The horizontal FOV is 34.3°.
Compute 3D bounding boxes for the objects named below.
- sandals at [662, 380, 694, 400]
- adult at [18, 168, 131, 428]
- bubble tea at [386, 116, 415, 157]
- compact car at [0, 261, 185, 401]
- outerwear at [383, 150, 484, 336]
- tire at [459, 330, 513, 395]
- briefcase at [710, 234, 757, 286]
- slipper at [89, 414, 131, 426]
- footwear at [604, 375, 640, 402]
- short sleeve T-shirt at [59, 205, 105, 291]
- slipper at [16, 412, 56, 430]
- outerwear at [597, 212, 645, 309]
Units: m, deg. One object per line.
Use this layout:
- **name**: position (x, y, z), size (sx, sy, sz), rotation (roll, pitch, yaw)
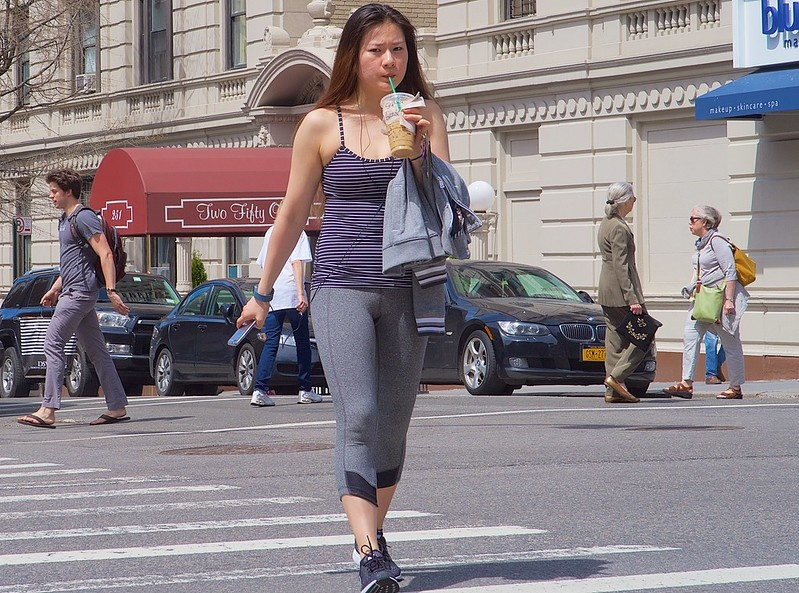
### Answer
- **sandals**: position (3.167, 1.031, 14.743), size (0.317, 0.201, 0.346), rotation (-1, 1, 11)
- **adult**: position (-3.126, 0.013, 12.627), size (0.931, 2.097, 0.867), rotation (-2, 1, -14)
- **bubble tea**: position (0.018, -0.713, 5.880), size (0.123, 0.116, 0.136), rotation (-2, 1, -37)
- **compact car**: position (-5.027, 0.537, 19.985), size (1.769, 1.373, 2.996), rotation (2, -6, -37)
- **outerwear**: position (0.170, -0.252, 6.011), size (0.505, 0.585, 0.190), rotation (-2, 1, -37)
- **tire**: position (1.049, 0.747, 15.234), size (0.328, 0.724, 0.748), rotation (2, 6, -22)
- **briefcase**: position (4.117, -0.439, 15.928), size (0.415, 0.710, 0.542), rotation (-19, 17, 0)
- **slipper**: position (-2.916, 1.221, 13.094), size (0.379, 0.094, 0.136), rotation (2, -4, -25)
- **footwear**: position (2.460, 1.006, 13.971), size (0.171, 0.273, 0.517), rotation (-2, -8, 37)
- **short sleeve T-shirt**: position (-3.065, -0.466, 12.538), size (0.406, 0.906, 0.791), rotation (2, -5, -28)
- **slipper**: position (-3.518, 1.203, 12.626), size (0.304, 0.087, 0.167), rotation (15, -8, -17)
- **outerwear**: position (2.350, -0.380, 13.755), size (0.452, 0.962, 0.359), rotation (-1, 1, 7)
